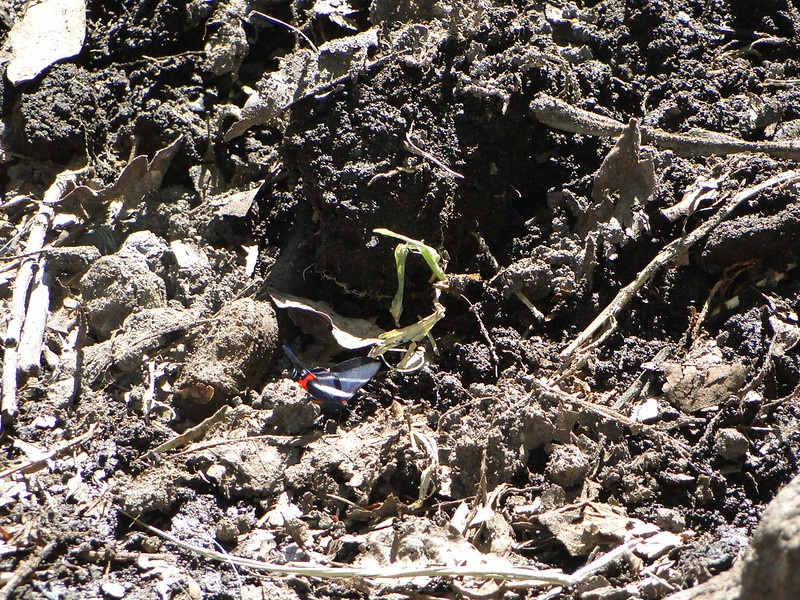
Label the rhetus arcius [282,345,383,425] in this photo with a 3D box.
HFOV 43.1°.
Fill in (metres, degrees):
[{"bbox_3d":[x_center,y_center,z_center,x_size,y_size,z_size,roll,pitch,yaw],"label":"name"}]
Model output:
[{"bbox_3d":[-0.348,0.359,4.753,0.445,0.224,0.319,-19,58,-47],"label":"rhetus arcius"}]
